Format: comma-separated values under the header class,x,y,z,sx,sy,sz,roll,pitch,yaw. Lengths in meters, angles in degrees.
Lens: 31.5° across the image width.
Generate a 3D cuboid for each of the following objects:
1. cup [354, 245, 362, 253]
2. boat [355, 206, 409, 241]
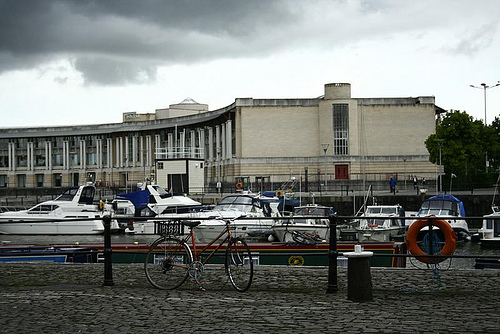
class,x,y,z,sx,sy,sz,roll,pitch,yaw
cup,3.893,2.942,32.085,0.266,0.269,0.252,1,5,0
boat,8.387,3.460,55.909,2.076,1.578,6.199,0,-3,16
